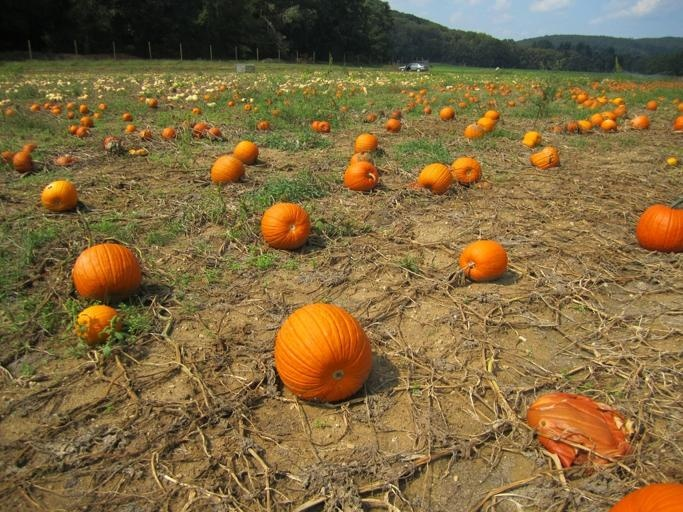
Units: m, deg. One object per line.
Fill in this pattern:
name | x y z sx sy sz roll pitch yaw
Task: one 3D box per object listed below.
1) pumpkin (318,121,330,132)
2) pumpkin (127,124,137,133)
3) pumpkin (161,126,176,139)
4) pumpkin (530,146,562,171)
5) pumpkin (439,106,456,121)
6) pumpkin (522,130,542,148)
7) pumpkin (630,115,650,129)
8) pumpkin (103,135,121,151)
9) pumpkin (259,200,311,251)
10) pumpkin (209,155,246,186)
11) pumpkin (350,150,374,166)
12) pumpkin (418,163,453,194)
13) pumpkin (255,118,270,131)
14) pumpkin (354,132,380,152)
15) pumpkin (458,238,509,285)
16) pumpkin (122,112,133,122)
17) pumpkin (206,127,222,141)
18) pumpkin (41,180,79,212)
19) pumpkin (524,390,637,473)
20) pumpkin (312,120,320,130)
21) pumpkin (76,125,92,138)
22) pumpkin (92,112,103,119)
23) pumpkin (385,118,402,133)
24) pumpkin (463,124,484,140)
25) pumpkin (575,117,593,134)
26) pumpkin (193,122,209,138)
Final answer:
pumpkin | -0.420 -3.141 12.316 0.267 0.246 0.244 -12 49 2
pumpkin | -4.936 -2.960 11.652 0.212 0.157 0.320 -8 29 -17
pumpkin | -3.883 -2.722 11.174 0.304 0.197 0.308 -8 29 -16
pumpkin | 3.969 -1.907 9.809 0.767 0.464 0.533 0 -5 11
pumpkin | 2.998 -3.972 14.014 0.349 0.324 0.533 9 29 15
pumpkin | 4.266 -2.583 11.058 0.342 0.184 0.433 15 29 29
pumpkin | 7.826 -3.467 13.037 0.433 0.280 0.418 13 30 22
pumpkin | -4.701 -2.264 10.190 0.314 0.256 0.564 -13 30 -24
pumpkin | -0.747 -0.410 6.969 0.675 0.622 0.581 -25 45 -12
pumpkin | -2.004 -1.474 8.847 0.549 0.490 0.536 -35 11 1
pumpkin | 0.353 -1.712 8.817 0.400 0.339 0.375 3 32 13
pumpkin | 1.532 -1.255 8.335 0.543 0.463 0.520 -22 -10 3
pumpkin | -1.958 -3.239 12.360 0.329 0.210 0.490 -4 27 -9
pumpkin | 0.509 -2.233 10.020 0.419 0.317 0.419 0 28 -3
pumpkin | 1.777 0.093 6.326 0.534 0.511 0.566 -25 0 18
pumpkin | -5.483 -3.508 12.728 0.192 0.195 0.288 -11 30 -21
pumpkin | -2.872 -2.761 11.208 0.305 0.270 0.269 -6 -9 -19
pumpkin | -4.365 -0.942 7.740 0.535 0.438 0.510 1 14 -33
pumpkin | 2.237 1.605 4.614 0.924 0.370 0.588 0 27 -2
pumpkin | -0.637 -3.236 12.406 0.203 0.134 0.244 6 -7 -13
pumpkin | -5.816 -2.756 11.263 0.294 0.277 0.286 24 3 41
pumpkin | -6.384 -3.627 12.985 0.365 0.140 0.192 22 34 35
pumpkin | 1.308 -3.269 12.533 0.404 0.366 0.369 -12 -17 10
pumpkin | 2.994 -2.783 11.372 0.377 0.317 0.382 3 10 41
pumpkin | 6.022 -3.186 12.383 0.565 0.251 0.363 -12 30 -24
pumpkin | -3.209 -2.840 11.333 0.336 0.269 0.339 -6 29 -13
